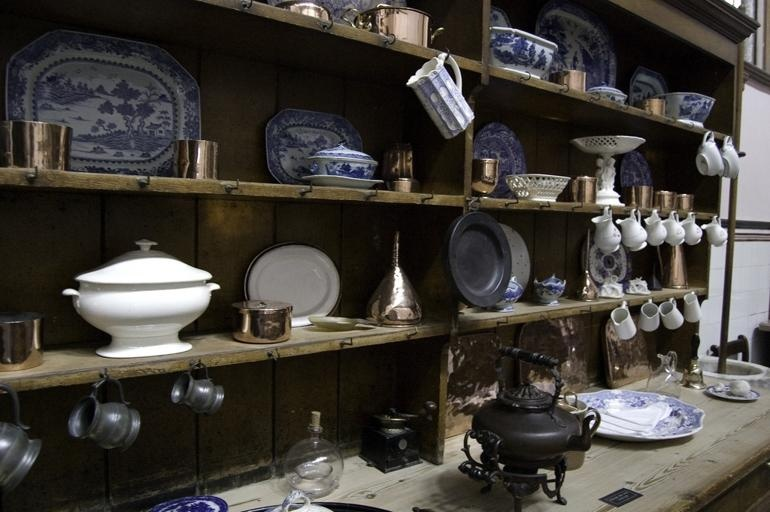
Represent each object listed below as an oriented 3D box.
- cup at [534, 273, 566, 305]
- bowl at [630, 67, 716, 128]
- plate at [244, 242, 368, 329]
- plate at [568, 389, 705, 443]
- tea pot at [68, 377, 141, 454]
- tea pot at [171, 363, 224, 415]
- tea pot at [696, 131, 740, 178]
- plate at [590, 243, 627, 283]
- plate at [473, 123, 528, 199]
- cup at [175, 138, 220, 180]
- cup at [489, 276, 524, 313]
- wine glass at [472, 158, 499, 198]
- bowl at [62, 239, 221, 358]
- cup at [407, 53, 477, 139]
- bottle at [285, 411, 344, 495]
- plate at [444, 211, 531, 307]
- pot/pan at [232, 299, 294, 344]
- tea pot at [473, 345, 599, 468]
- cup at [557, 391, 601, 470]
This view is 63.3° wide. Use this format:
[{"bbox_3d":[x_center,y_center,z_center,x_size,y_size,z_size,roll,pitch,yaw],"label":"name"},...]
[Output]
[{"bbox_3d":[0.683,0.140,2.604,0.117,0.103,0.123,1,-8,0],"label":"cup"},{"bbox_3d":[1.325,-0.714,2.985,0.353,0.294,0.399,3,2,43],"label":"bowl"},{"bbox_3d":[-0.279,0.097,2.073,0.291,0.293,0.042,0,1,-31],"label":"plate"},{"bbox_3d":[1.027,0.637,2.533,0.304,0.042,0.305,1,7,33],"label":"plate"},{"bbox_3d":[-0.750,0.421,1.714,0.102,0.170,0.172,3,-21,25],"label":"tea pot"},{"bbox_3d":[-0.541,0.381,1.840,0.090,0.146,0.128,-29,-43,24],"label":"tea pot"},{"bbox_3d":[1.538,-0.478,2.908,0.236,0.219,0.094,0,1,-41],"label":"tea pot"},{"bbox_3d":[1.037,0.041,2.952,0.189,0.191,0.038,-6,1,-36],"label":"plate"},{"bbox_3d":[0.442,-0.376,2.463,0.031,0.389,0.324,-3,-9,44],"label":"plate"},{"bbox_3d":[-0.539,-0.279,1.803,0.117,0.124,0.113,0,8,0],"label":"cup"},{"bbox_3d":[0.453,0.151,2.468,0.137,0.119,0.134,1,6,0],"label":"cup"},{"bbox_3d":[0.345,-0.288,2.313,0.125,0.135,0.125,3,3,38],"label":"wine glass"},{"bbox_3d":[-0.713,0.119,1.869,0.373,0.322,0.397,0,2,0],"label":"bowl"},{"bbox_3d":[0.185,-0.526,2.040,0.111,0.262,0.231,4,7,39],"label":"cup"},{"bbox_3d":[-0.239,0.654,2.067,0.188,0.258,0.193,2,-15,1],"label":"bottle"},{"bbox_3d":[0.327,0.017,2.182,0.360,0.361,0.081,-2,0,-41],"label":"plate"},{"bbox_3d":[-0.385,0.202,1.959,0.186,0.123,0.187,4,4,20],"label":"pot/pan"},{"bbox_3d":[0.477,0.495,2.047,0.347,0.346,0.413,-5,9,-38],"label":"tea pot"},{"bbox_3d":[0.653,0.608,2.191,0.140,0.140,0.181,-18,13,9],"label":"cup"}]
